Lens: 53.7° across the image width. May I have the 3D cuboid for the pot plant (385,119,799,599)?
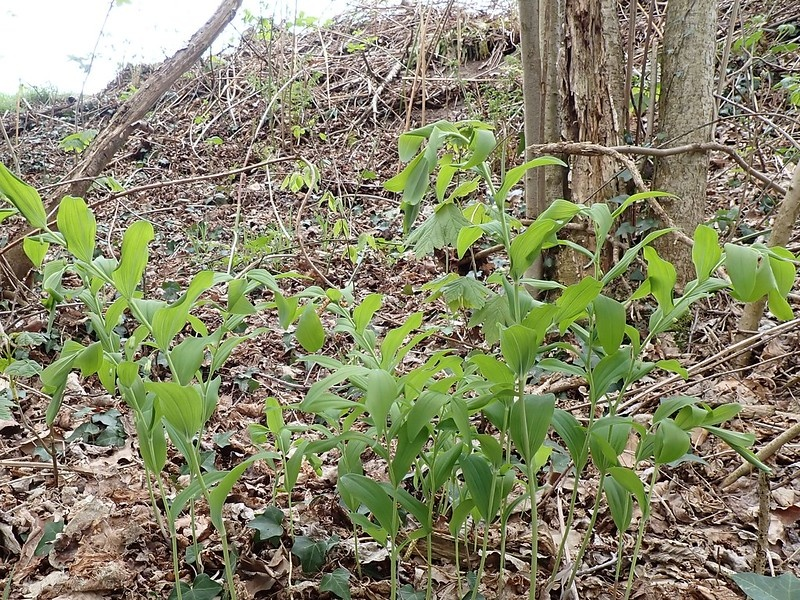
[{"bbox_3d":[0.736,0.252,3.533,1.585,2.075,0.972,-1,15,-1],"label":"pot plant"}]

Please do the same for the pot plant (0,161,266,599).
[{"bbox_3d":[-1.238,0.256,3.752,0.939,1.921,1.661,-7,16,-21],"label":"pot plant"}]
